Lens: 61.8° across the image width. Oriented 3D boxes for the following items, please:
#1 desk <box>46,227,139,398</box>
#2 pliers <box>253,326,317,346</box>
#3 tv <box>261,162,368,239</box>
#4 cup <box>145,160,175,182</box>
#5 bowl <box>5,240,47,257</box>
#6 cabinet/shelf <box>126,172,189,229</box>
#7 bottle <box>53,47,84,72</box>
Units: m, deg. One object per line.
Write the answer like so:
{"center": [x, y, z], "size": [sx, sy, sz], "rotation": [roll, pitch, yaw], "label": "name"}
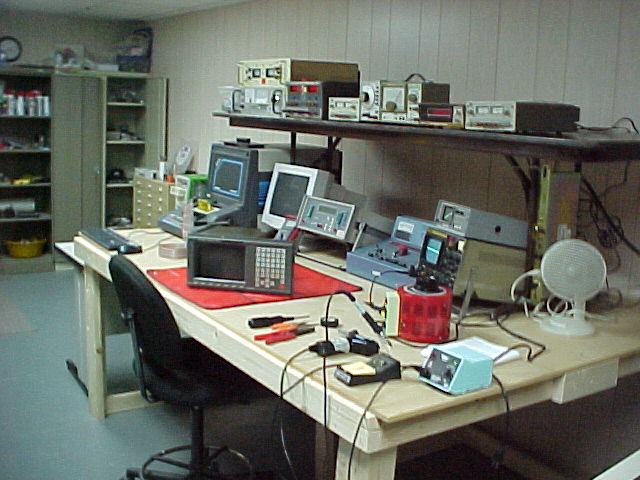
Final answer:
{"center": [-1.490, 0.523, 3.474], "size": [0.665, 0.916, 0.676], "rotation": [-10, 30, -31], "label": "desk"}
{"center": [-0.128, 0.342, 1.944], "size": [0.149, 0.021, 0.073], "rotation": [-8, 12, -29], "label": "pliers"}
{"center": [-0.023, -0.277, 3.195], "size": [0.485, 0.370, 0.466], "rotation": [6, 11, -34], "label": "tv"}
{"center": [-1.674, -0.716, 5.573], "size": [0.178, 0.234, 0.593], "rotation": [1, 9, -36], "label": "cup"}
{"center": [-3.399, 0.093, 6.116], "size": [0.412, 0.193, 0.277], "rotation": [-5, 15, -22], "label": "bowl"}
{"center": [-1.541, -0.380, 5.026], "size": [0.352, 0.584, 0.608], "rotation": [-2, 7, -36], "label": "cabinet/shelf"}
{"center": [-2.871, -2.036, 6.049], "size": [0.296, 0.284, 0.164], "rotation": [1, 11, -3], "label": "bottle"}
